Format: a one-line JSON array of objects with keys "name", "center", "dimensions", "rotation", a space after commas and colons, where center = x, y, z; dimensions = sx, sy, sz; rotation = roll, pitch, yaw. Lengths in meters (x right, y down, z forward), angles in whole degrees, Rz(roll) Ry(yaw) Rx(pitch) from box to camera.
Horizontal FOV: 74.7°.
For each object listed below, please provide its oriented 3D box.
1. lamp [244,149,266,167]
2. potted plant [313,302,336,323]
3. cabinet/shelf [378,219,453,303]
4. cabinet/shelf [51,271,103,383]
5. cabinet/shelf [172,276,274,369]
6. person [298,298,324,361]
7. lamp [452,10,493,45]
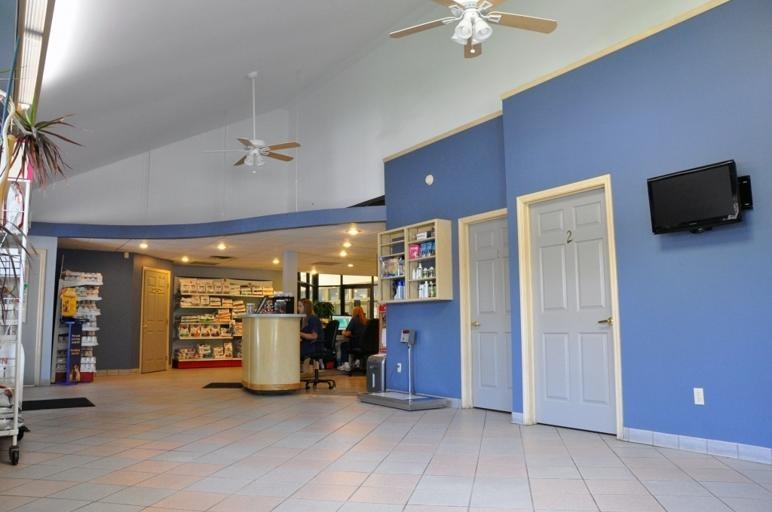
[{"name": "lamp", "center": [-2.553, -1.879, 9.750], "dimensions": [0.349, 0.128, 0.336], "rotation": [1, 3, -23]}, {"name": "potted plant", "center": [-2.008, 1.790, 16.284], "dimensions": [0.578, 0.640, 0.631], "rotation": [-1, 4, -24]}, {"name": "cabinet/shelf", "center": [0.524, 0.114, 8.420], "dimensions": [0.334, 1.162, 1.397], "rotation": [7, -12, -35]}, {"name": "cabinet/shelf", "center": [-6.947, 1.549, 11.404], "dimensions": [0.848, 2.428, 1.117], "rotation": [2, -5, -32]}, {"name": "cabinet/shelf", "center": [-4.469, 1.804, 13.296], "dimensions": [2.916, 2.378, 0.831], "rotation": [1, -3, -23]}, {"name": "person", "center": [-1.527, 1.526, 10.413], "dimensions": [0.447, 1.201, 1.109], "rotation": [0, -4, -8]}, {"name": "lamp", "center": [0.932, -2.487, 5.445], "dimensions": [0.380, 0.410, 0.332], "rotation": [-10, -43, 26]}]
